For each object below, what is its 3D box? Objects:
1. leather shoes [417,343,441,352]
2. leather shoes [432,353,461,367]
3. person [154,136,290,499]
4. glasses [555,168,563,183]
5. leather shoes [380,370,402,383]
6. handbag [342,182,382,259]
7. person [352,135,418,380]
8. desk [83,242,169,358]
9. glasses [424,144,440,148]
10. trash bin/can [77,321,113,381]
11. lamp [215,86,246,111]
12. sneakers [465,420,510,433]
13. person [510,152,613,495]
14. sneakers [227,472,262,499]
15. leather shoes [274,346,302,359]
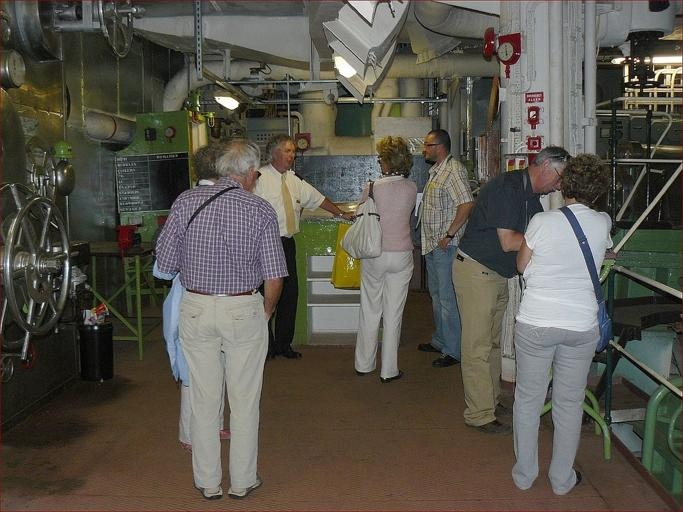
[{"bbox_3d":[0.884,0.904,6.373,0.210,0.089,0.079,0,3,16],"label":"leather shoes"},{"bbox_3d":[1.006,0.973,5.969,0.292,0.126,0.101,1,5,-7],"label":"leather shoes"},{"bbox_3d":[-0.713,0.399,3.877,0.722,2.144,0.483,-4,12,-18],"label":"person"},{"bbox_3d":[1.403,-0.515,4.087,0.027,0.097,0.090,3,-6,3],"label":"glasses"},{"bbox_3d":[0.438,1.061,5.585,0.071,0.092,0.213,8,15,41],"label":"leather shoes"},{"bbox_3d":[0.172,-0.292,5.290,0.324,0.602,0.330,-2,12,-6],"label":"handbag"},{"bbox_3d":[0.369,0.048,5.460,0.526,2.091,0.429,0,12,2],"label":"person"},{"bbox_3d":[-2.460,0.268,6.926,0.512,0.698,1.442,-1,5,-2],"label":"desk"},{"bbox_3d":[0.800,-0.983,5.672,0.053,0.038,0.159,-9,15,-32],"label":"glasses"},{"bbox_3d":[-2.169,0.840,5.561,0.293,0.524,0.194,-5,13,-21],"label":"trash bin/can"},{"bbox_3d":[-1.820,-2.461,9.916,0.372,0.336,2.412,-3,13,-10],"label":"lamp"},{"bbox_3d":[1.066,1.209,4.610,0.289,0.132,0.103,-11,-9,37],"label":"sneakers"},{"bbox_3d":[1.304,0.449,3.802,0.511,2.060,0.283,4,12,19],"label":"person"},{"bbox_3d":[-0.607,1.434,3.960,0.081,0.092,0.229,8,22,20],"label":"sneakers"},{"bbox_3d":[-0.525,0.934,6.187,0.265,0.118,0.101,0,3,-2],"label":"leather shoes"}]
